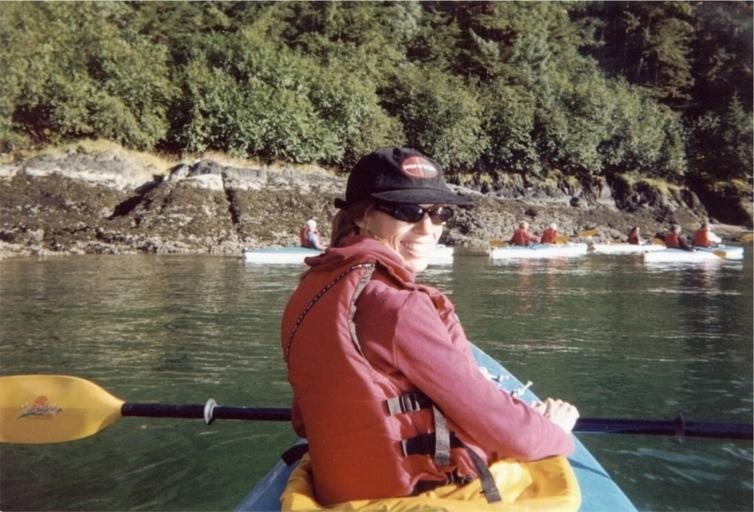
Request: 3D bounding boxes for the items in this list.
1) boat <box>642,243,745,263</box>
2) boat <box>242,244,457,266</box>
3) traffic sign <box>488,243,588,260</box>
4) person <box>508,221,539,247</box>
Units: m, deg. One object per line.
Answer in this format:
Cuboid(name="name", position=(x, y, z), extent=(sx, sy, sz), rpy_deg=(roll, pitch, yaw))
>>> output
Cuboid(name="boat", position=(13.353, -0.124, 28.425), extent=(4.407, 0.779, 0.974), rpy_deg=(0, 1, -20))
Cuboid(name="boat", position=(-0.982, -0.030, 16.326), extent=(3.999, 0.516, 0.790), rpy_deg=(2, -2, -1))
Cuboid(name="traffic sign", position=(6.861, -0.241, 29.491), extent=(3.145, 0.532, 0.618), rpy_deg=(-4, 5, -22))
Cuboid(name="person", position=(7.121, -1.101, 32.969), extent=(1.380, 1.160, 0.838), rpy_deg=(17, 39, 33))
